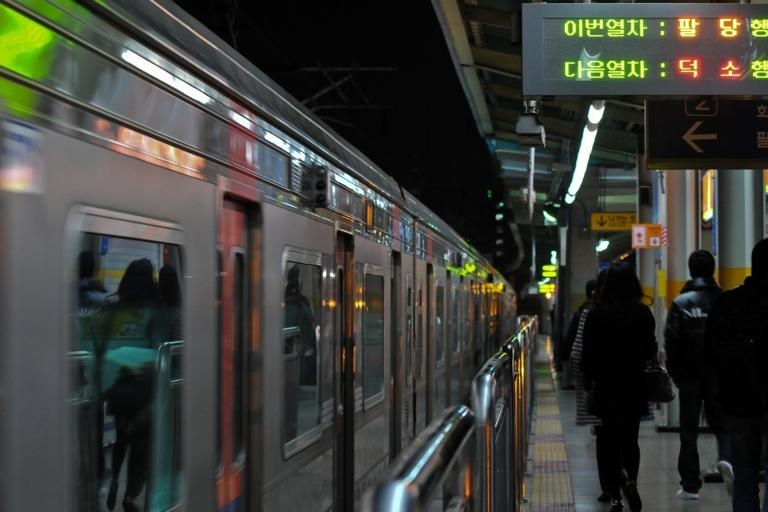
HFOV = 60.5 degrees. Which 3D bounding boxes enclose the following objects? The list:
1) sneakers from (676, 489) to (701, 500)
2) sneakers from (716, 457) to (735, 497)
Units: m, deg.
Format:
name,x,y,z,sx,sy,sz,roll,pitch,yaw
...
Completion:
name,x,y,z,sx,sy,sz,roll,pitch,yaw
sneakers,3.066,2.419,6.655,0.223,0.101,0.099,5,0,13
sneakers,2.543,1.636,4.923,0.133,0.345,0.100,-5,-4,-44
